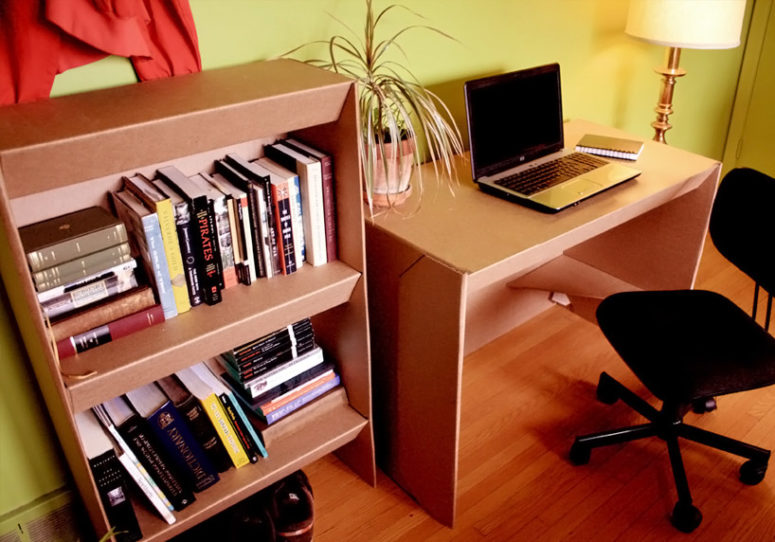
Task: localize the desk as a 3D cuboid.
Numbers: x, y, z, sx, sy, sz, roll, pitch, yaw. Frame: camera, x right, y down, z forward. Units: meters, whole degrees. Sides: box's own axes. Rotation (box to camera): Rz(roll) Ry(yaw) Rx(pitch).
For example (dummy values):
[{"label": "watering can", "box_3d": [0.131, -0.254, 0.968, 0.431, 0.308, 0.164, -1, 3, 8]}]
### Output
[{"label": "desk", "box_3d": [0.588, 0.093, 2.473, 1.456, 0.986, 0.712, -21, 34, -33]}]
